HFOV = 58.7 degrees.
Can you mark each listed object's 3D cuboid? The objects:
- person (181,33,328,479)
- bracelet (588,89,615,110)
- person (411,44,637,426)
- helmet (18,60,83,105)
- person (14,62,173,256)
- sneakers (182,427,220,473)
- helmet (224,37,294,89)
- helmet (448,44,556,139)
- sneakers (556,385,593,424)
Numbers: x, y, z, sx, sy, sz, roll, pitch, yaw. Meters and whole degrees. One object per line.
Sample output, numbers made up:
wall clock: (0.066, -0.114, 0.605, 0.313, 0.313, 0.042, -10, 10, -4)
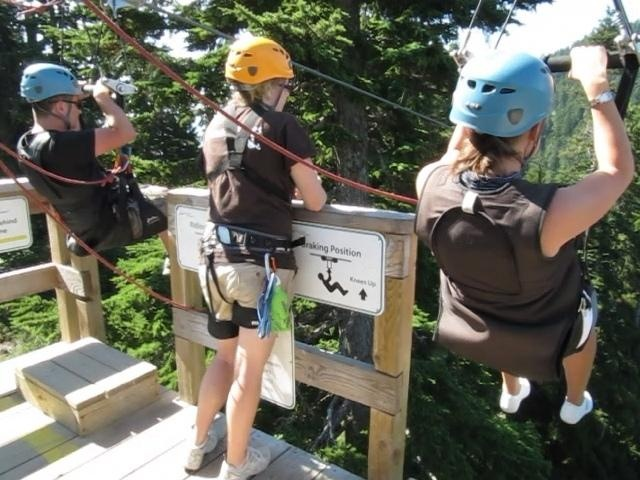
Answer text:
person: (-0.477, 0.166, 3.732, 0.931, 2.850, 0.766, -6, 18, -20)
bracelet: (1.532, -0.757, 3.051, 0.201, 0.093, 0.090, -11, 21, -34)
person: (1.087, -0.119, 3.169, 1.091, 1.771, 0.509, 4, 17, 9)
helmet: (-2.143, -1.254, 4.569, 0.299, 0.278, 0.431, 19, 15, 39)
person: (-1.884, -0.578, 4.656, 1.067, 1.631, 0.646, -5, 18, -17)
sneakers: (-0.823, 1.445, 3.981, 0.126, 0.135, 0.326, 4, 35, 16)
helmet: (-0.384, -1.149, 3.634, 0.390, 0.224, 0.292, -17, 36, -24)
helmet: (0.998, -0.804, 3.118, 0.526, 0.454, 0.299, 8, 18, 20)
sneakers: (1.692, 1.089, 3.743, 0.151, 0.140, 0.318, 4, 27, 39)
